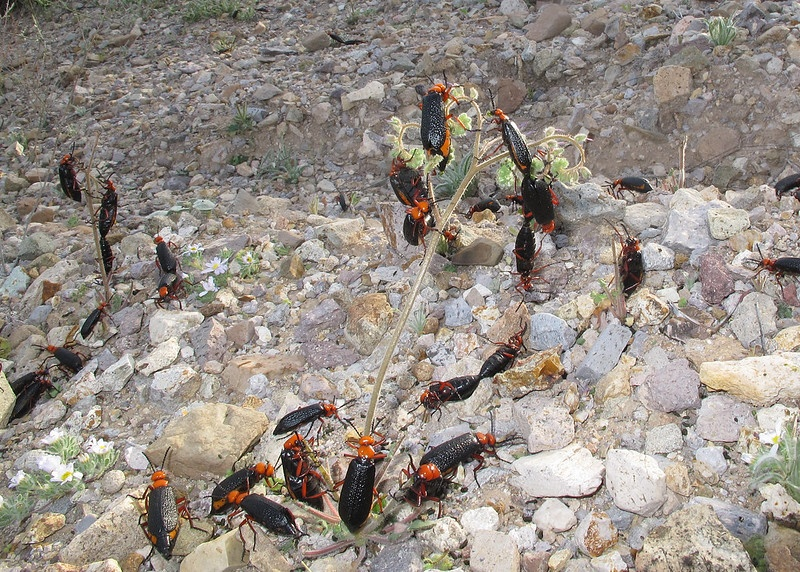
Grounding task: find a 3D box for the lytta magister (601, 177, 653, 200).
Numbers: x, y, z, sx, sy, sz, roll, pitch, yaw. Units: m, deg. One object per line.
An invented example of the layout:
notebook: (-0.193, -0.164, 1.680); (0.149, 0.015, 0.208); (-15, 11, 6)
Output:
lytta magister: (2.502, -1.081, 7.544); (0.242, 0.121, 0.337); (-25, 25, -32)
